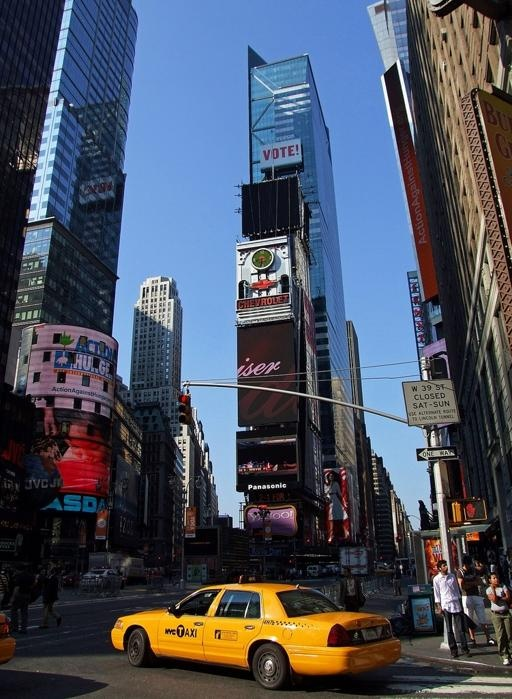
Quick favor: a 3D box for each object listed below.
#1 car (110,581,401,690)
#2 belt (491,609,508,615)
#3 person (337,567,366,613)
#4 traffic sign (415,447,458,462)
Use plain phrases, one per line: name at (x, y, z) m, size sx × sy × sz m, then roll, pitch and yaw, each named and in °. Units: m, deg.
car at (-0.310, 4.330, 8.342) m, size 1.593 × 1.217 × 5.241 m, roll 16°, pitch -28°, yaw -42°
belt at (4.235, 4.535, 9.157) m, size 0.260 × 0.096 × 0.218 m, roll -12°, pitch -23°, yaw 23°
person at (2.585, 6.625, 14.125) m, size 0.510 × 1.443 × 0.378 m, roll -5°, pitch -40°, yaw 9°
traffic sign at (4.157, 2.357, 12.048) m, size 0.860 × 0.306 × 0.649 m, roll -6°, pitch -21°, yaw 7°
